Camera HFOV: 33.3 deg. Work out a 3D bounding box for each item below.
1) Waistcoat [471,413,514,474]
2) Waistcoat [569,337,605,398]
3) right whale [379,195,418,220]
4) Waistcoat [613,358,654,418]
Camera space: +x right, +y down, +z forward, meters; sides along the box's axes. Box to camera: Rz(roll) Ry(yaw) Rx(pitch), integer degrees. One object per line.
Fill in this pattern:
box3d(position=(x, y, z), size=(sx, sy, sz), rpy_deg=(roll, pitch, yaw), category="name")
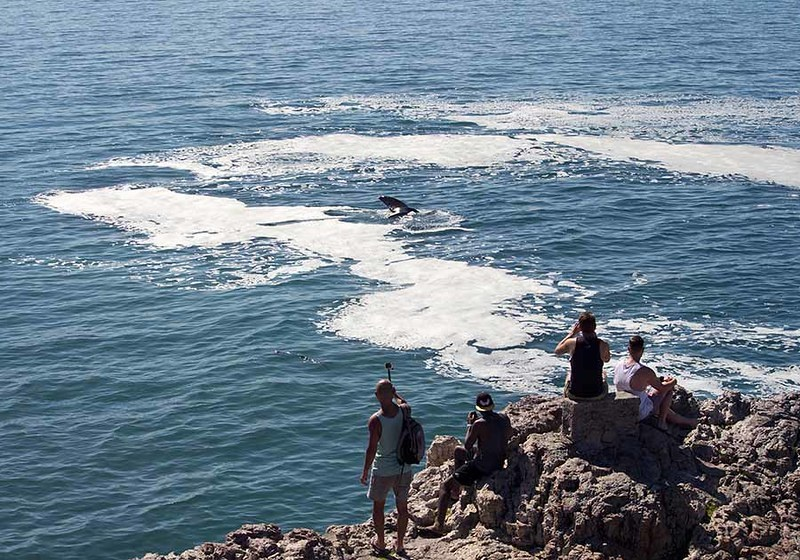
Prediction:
box3d(position=(2.788, 4.959, 40.726), size=(1.203, 1.970, 0.560), rpy_deg=(-5, 21, -8), category="Waistcoat")
box3d(position=(5.656, 2.633, 40.559), size=(1.091, 1.853, 0.709), rpy_deg=(1, 20, 6), category="Waistcoat")
box3d(position=(-0.171, -3.476, 62.540), size=(1.470, 0.927, 1.597), rpy_deg=(-10, 17, -29), category="right whale")
box3d(position=(7.048, 3.198, 41.143), size=(1.496, 1.182, 0.876), rpy_deg=(8, 9, 30), category="Waistcoat")
